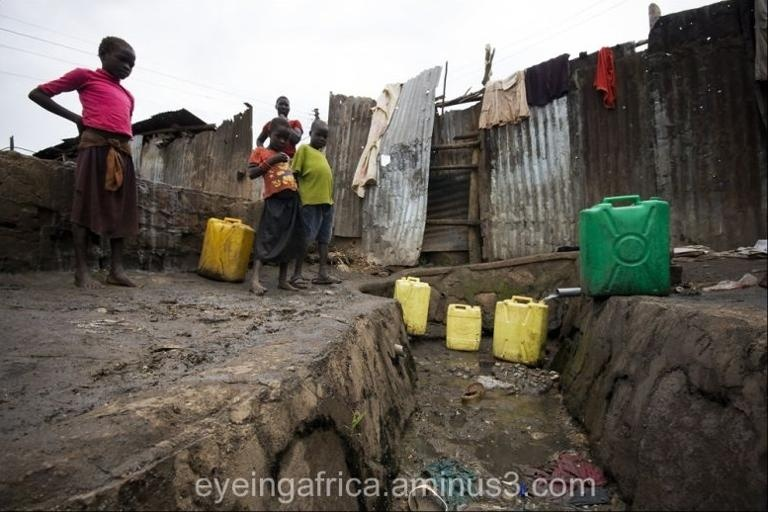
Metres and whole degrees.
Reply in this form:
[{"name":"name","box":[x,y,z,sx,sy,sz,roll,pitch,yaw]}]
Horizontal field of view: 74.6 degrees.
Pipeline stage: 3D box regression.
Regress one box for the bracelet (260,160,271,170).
[{"name":"bracelet","box":[-1.282,-0.989,5.487,0.075,0.071,0.074,2,2,-1]}]

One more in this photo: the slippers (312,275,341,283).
[{"name":"slippers","box":[-0.763,0.322,6.440,0.280,0.083,0.136,-2,2,14]}]

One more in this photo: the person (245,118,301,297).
[{"name":"person","box":[-1.204,-0.570,5.593,0.580,1.971,0.528,0,-1,-15]}]

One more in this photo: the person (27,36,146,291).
[{"name":"person","box":[-2.793,-0.905,4.854,0.766,2.415,0.328,1,-1,-31]}]

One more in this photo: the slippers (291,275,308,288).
[{"name":"slippers","box":[-1.003,0.314,5.927,0.159,0.086,0.212,0,1,-9]}]

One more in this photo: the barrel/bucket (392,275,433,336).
[{"name":"barrel/bucket","box":[0.344,0.663,6.353,0.422,0.685,0.169,0,0,6]}]

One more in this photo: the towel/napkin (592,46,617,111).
[{"name":"towel/napkin","box":[3.279,-2.658,7.505,0.299,0.912,0.157,0,-1,22]}]

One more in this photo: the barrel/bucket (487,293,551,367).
[{"name":"barrel/bucket","box":[1.560,0.876,5.752,0.711,0.954,0.353,8,5,35]}]
